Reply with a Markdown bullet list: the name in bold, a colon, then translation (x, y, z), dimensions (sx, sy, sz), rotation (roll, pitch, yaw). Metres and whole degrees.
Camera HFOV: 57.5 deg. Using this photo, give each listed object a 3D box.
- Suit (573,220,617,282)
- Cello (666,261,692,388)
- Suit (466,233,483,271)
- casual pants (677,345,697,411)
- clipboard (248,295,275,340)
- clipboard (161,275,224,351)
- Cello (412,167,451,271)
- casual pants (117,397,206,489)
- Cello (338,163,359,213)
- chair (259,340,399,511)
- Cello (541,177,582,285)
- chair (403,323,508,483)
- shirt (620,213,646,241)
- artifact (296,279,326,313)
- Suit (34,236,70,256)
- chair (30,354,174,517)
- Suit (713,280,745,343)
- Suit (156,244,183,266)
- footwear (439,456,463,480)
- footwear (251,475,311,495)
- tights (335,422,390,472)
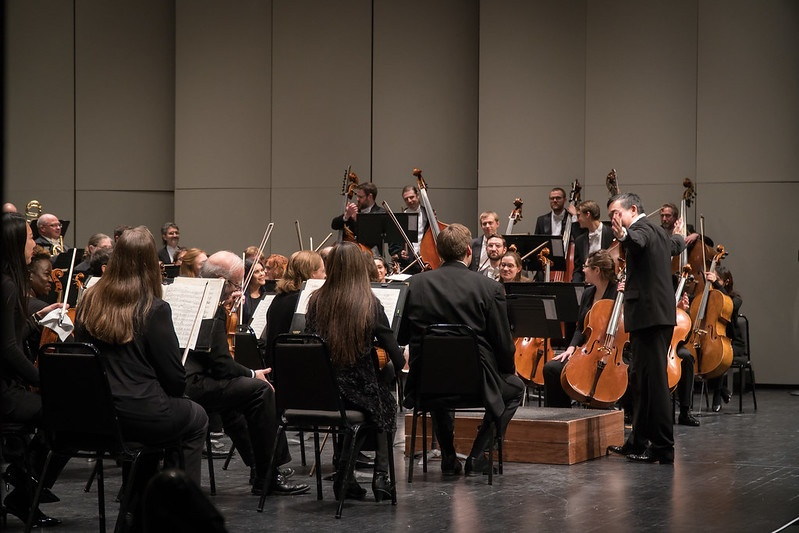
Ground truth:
- **Suit**: translation (2.519, -0.241, 9.407), dimensions (0.255, 0.972, 0.500), rotation (4, -1, -32)
- **Cello**: translation (2.843, 0.635, 7.440), dimensions (0.252, 1.404, 0.561), rotation (3, -3, 16)
- **Suit**: translation (1.018, -0.207, 9.905), dimensions (0.358, 0.507, 0.164), rotation (0, 2, 21)
- **casual pants**: translation (3.156, 1.210, 8.003), dimensions (0.288, 0.752, 0.125), rotation (-7, -8, 40)
- **clipboard**: translation (-1.253, 0.461, 6.685), dimensions (0.285, 0.458, 0.091), rotation (14, 0, 36)
- **clipboard**: translation (-1.275, 0.316, 4.528), dimensions (0.420, 0.449, 0.121), rotation (-2, -11, 21)
- **Cello**: translation (0.363, -0.677, 10.526), dimensions (0.557, 1.430, 0.289), rotation (-13, 2, -13)
- **casual pants**: translation (-1.463, 0.983, 4.182), dimensions (0.388, 0.542, 0.306), rotation (-2, 13, -27)
- **Cello**: translation (-0.776, -1.214, 10.749), dimensions (0.197, 0.532, 0.219), rotation (7, 27, -3)
- **chair**: translation (-0.509, 1.045, 4.924), dimensions (0.881, 1.194, 0.596), rotation (0, -1, -13)
- **Cello**: translation (2.262, -0.507, 10.059), dimensions (0.568, 1.490, 0.395), rotation (-5, -11, 30)
- **chair**: translation (0.373, 0.947, 5.186), dimensions (0.681, 1.081, 0.741), rotation (1, -9, -18)
- **shirt**: translation (1.889, -0.310, 5.948), dimensions (0.212, 0.274, 0.079), rotation (3, -4, -44)
- **artifact**: translation (-0.632, 0.208, 5.260), dimensions (0.244, 0.240, 0.055), rotation (6, -3, -43)
- **Suit**: translation (-3.910, -0.238, 8.190), dimensions (0.344, 0.151, 0.241), rotation (25, 13, 17)
- **chair**: translation (-1.687, 0.936, 4.223), dimensions (0.712, 1.006, 0.451), rotation (0, -1, -28)
- **Suit**: translation (4.139, 0.600, 9.070), dimensions (0.269, 0.879, 0.492), rotation (0, 1, 4)
- **Suit**: translation (-2.998, -0.152, 9.545), dimensions (0.399, 0.197, 0.559), rotation (0, -1, -4)
- **footwear**: translation (0.409, 1.590, 5.786), dimensions (0.078, 0.176, 0.242), rotation (-1, -2, 25)
- **footwear**: translation (-0.838, 1.582, 5.276), dimensions (0.430, 0.188, 0.156), rotation (1, -6, -7)
- **tights**: translation (-0.283, 1.354, 5.429), dimensions (0.337, 0.340, 0.138), rotation (2, 32, 8)
